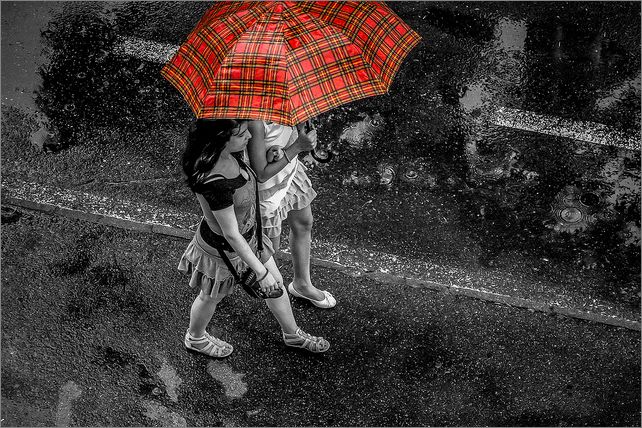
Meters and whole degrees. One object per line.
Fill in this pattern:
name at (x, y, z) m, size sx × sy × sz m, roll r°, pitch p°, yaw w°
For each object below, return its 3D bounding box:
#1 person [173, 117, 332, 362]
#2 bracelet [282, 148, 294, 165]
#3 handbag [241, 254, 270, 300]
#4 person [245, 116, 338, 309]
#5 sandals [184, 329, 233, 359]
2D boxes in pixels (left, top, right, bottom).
person at (-0.610, 0.335, 5.517) m, size 1.344 × 2.214 × 0.938 m, roll 6°, pitch 51°, yaw 2°
bracelet at (-0.283, -0.488, 5.176) m, size 0.033 × 0.021 × 0.186 m, roll -31°, pitch 38°, yaw 4°
handbag at (-0.575, 0.533, 5.172) m, size 0.183 × 0.250 × 0.261 m, roll -51°, pitch 45°, yaw 15°
person at (-0.280, 0.073, 5.629) m, size 0.689 × 1.893 × 0.657 m, roll 12°, pitch 57°, yaw 13°
sandals at (-1.043, 1.267, 5.921) m, size 0.467 × 0.196 × 0.212 m, roll 15°, pitch 44°, yaw -13°
